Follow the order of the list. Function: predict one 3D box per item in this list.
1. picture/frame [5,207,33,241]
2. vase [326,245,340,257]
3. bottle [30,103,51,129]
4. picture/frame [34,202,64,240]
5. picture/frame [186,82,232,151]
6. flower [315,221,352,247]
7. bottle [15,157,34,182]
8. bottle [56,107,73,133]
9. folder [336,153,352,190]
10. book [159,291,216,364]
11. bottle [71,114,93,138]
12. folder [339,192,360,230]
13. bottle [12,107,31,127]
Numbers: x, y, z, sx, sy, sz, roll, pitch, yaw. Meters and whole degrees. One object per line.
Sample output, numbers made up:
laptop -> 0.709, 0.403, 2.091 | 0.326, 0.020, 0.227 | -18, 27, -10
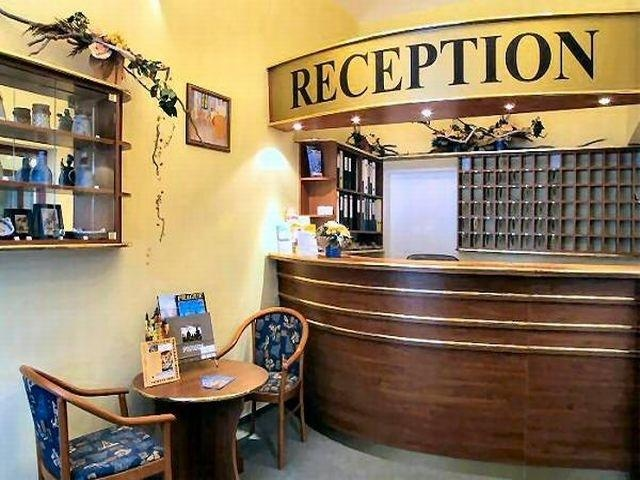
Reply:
picture/frame -> -1.806, -0.104, 3.051 | 0.143, 0.187, 0.048 | -9, 12, -31
vase -> 0.108, 0.107, 4.594 | 0.103, 0.104, 0.103 | -4, -6, 34
bottle -> -1.726, -0.776, 3.144 | 0.106, 0.145, 0.040 | -7, 12, -26
picture/frame -> -1.692, -0.118, 3.147 | 0.107, 0.301, 0.212 | -1, 2, 29
picture/frame -> -0.963, -1.051, 4.307 | 0.042, 0.619, 0.616 | -1, -2, 35
flower -> 0.136, -0.070, 4.625 | 0.251, 0.148, 0.244 | 20, 10, 33
bottle -> -1.797, -0.430, 3.084 | 0.045, 0.143, 0.099 | 2, 11, 19
bottle -> -1.626, -0.772, 3.239 | 0.080, 0.132, 0.125 | 18, 16, 38
folder -> 0.279, -0.800, 5.786 | 0.113, 0.431, 0.536 | 0, 11, 10
book -> -1.002, 0.661, 3.766 | 0.402, 0.551, 0.295 | -6, -22, -36
bottle -> -1.543, -0.748, 3.307 | 0.123, 0.138, 0.127 | 11, 13, 33
folder -> 0.323, -0.321, 5.904 | 0.094, 0.466, 0.502 | 2, 11, 20
bottle -> -1.799, -0.743, 3.099 | 0.099, 0.092, 0.143 | 0, -10, -25
